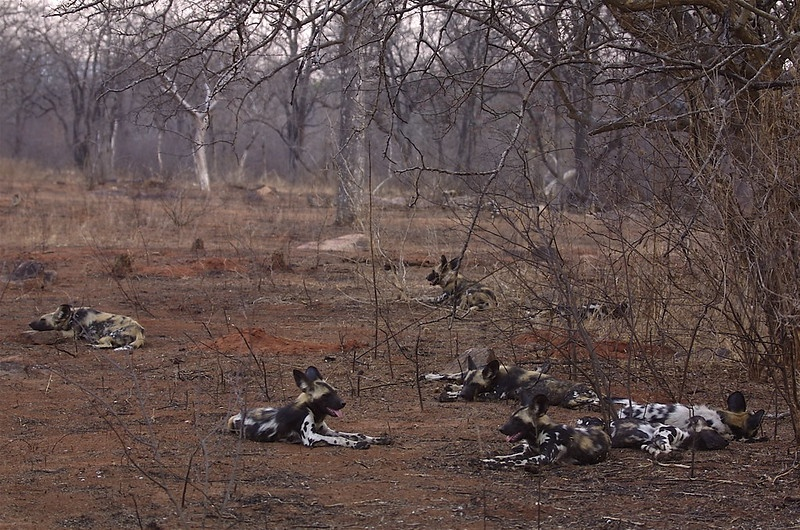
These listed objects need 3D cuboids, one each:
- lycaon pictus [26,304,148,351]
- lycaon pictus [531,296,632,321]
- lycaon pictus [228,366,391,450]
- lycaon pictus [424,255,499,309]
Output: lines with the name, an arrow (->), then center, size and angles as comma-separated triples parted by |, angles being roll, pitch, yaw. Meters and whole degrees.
lycaon pictus -> -5.064, 1.058, 19.401 | 1.570, 0.572, 0.865 | 8, -8, 18
lycaon pictus -> 2.805, 0.687, 18.034 | 0.992, 0.374, 0.339 | -3, 42, 6
lycaon pictus -> -1.337, 2.035, 16.324 | 2.183, 1.041, 0.705 | -1, -3, 15
lycaon pictus -> 1.183, 0.432, 21.762 | 1.475, 0.858, 0.611 | 18, 13, 27
